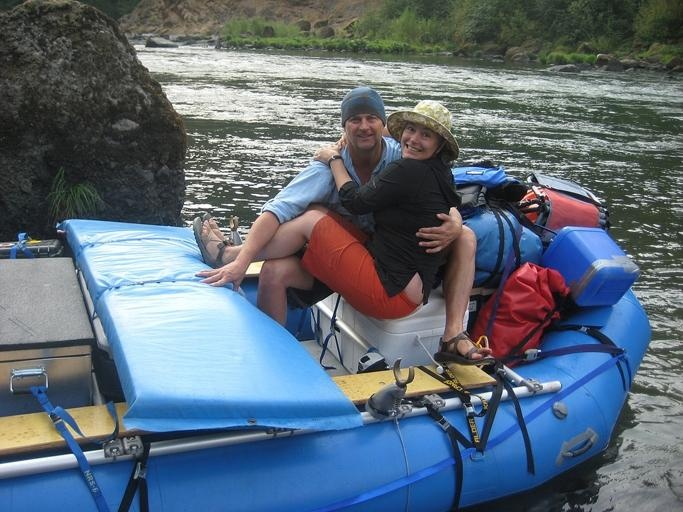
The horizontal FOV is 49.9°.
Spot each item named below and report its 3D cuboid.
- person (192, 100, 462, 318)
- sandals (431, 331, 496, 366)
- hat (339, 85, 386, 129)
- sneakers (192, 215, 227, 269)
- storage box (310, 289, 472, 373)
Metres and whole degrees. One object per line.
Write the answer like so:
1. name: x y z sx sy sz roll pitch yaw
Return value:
1. person: 0.110 -0.548 4.991 2.327 1.148 0.698 -7 16 6
2. sandals: 0.781 0.584 4.602 0.368 0.153 0.191 -3 2 37
3. hat: 0.167 -1.017 4.952 0.336 0.233 0.309 -2 3 -33
4. sneakers: -0.910 -0.035 5.112 0.122 0.294 0.089 -19 -39 37
5. storage box: 0.300 0.318 4.914 0.604 0.544 0.904 -5 20 -35
